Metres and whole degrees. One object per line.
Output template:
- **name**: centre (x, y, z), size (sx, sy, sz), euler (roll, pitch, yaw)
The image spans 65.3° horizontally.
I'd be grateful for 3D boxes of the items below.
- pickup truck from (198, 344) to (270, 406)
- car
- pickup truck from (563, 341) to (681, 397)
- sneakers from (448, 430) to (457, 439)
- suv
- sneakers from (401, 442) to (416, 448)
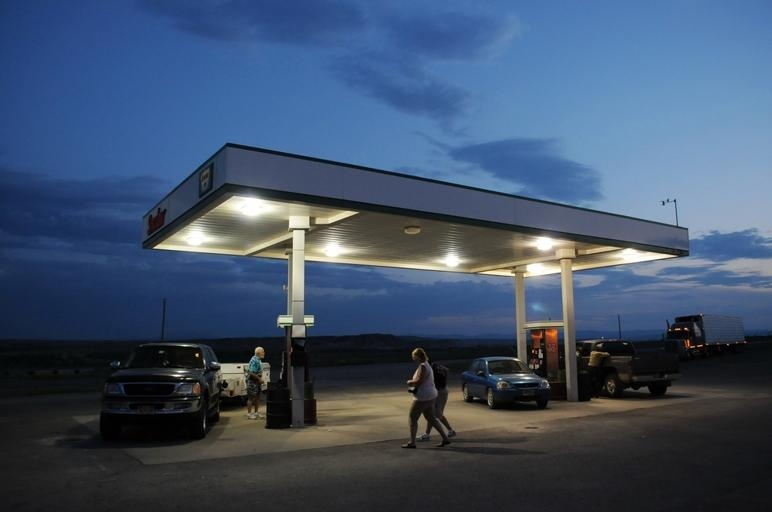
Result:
- **pickup truck**: centre (-5.879, 4.871, 24.195), size (2.972, 1.632, 1.631), euler (-6, 6, 13)
- **car**: centre (4.263, 4.730, 22.913), size (1.693, 1.185, 3.024), euler (3, -13, -19)
- **pickup truck**: centre (10.113, 4.792, 25.442), size (2.428, 1.536, 4.066), euler (2, -5, -23)
- **sneakers**: centre (1.851, 4.962, 16.930), size (0.179, 0.143, 0.446), euler (-2, -16, 1)
- **suv**: centre (-6.356, 3.873, 17.746), size (2.477, 2.722, 3.227), euler (-5, -8, 27)
- **sneakers**: centre (0.602, 4.954, 15.868), size (0.304, 0.116, 0.165), euler (3, -6, 8)
